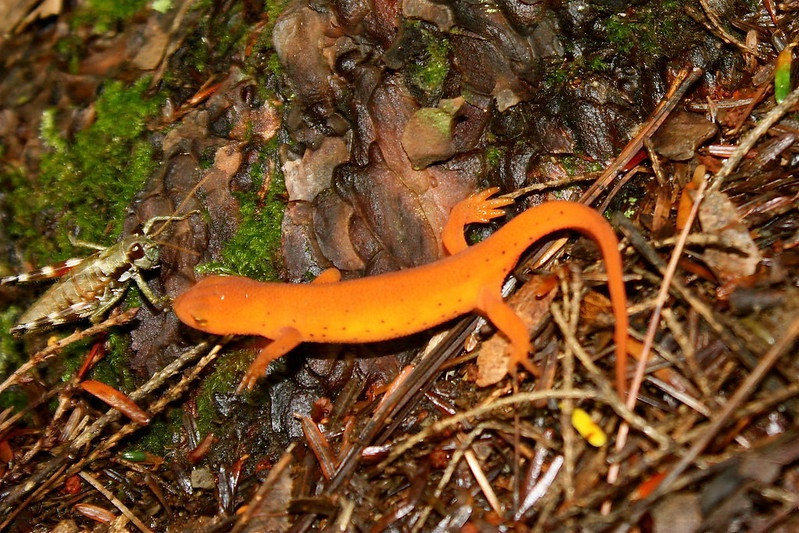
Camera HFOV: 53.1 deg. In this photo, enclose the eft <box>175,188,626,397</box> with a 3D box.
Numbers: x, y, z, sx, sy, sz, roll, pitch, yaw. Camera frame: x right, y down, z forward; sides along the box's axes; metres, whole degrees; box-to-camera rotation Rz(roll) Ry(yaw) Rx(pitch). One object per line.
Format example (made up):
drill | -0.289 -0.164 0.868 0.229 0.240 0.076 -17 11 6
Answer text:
eft | 0.086 0.251 6.592 3.615 0.636 2.073 -11 62 -2
